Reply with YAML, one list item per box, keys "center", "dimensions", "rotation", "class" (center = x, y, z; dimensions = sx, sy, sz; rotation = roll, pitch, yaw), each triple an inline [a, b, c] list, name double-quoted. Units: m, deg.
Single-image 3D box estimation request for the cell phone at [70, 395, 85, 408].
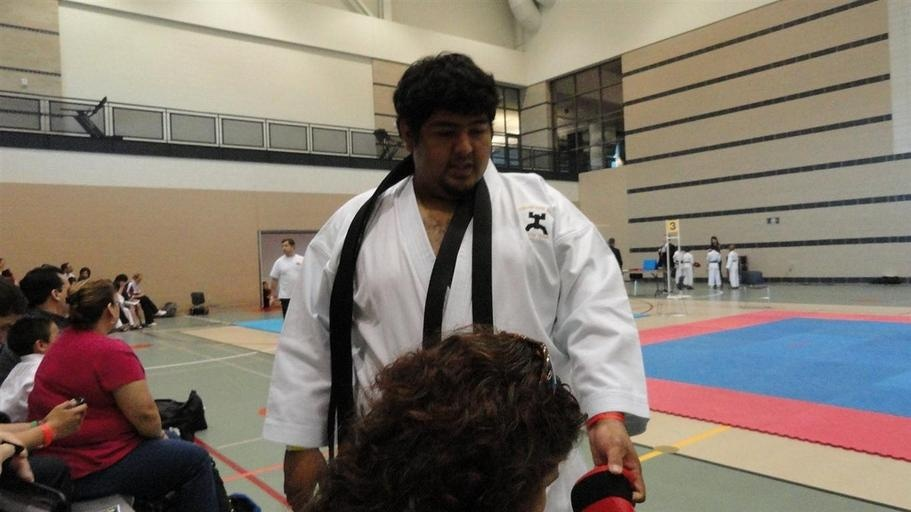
- center: [-4.628, 1.778, 6.779]
  dimensions: [0.132, 0.132, 0.090]
  rotation: [-3, -1, 34]
  class: "cell phone"
